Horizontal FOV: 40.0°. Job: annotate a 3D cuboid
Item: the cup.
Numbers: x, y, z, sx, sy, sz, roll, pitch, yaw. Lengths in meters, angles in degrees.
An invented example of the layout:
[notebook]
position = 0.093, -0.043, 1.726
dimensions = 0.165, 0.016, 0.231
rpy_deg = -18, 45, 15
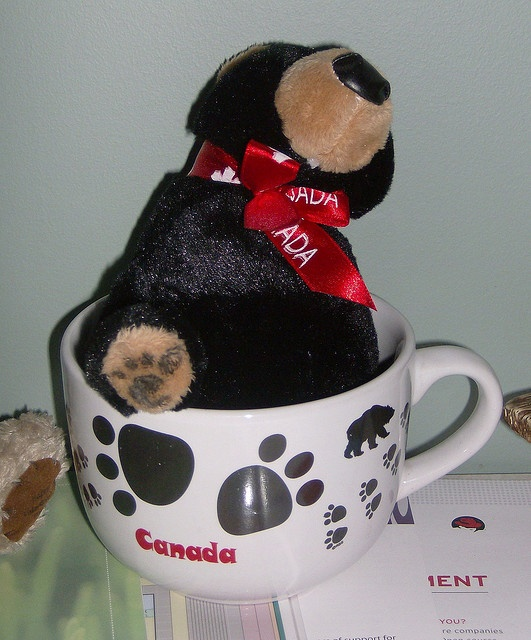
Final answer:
[cup]
position = 0.005, 0.079, 0.530
dimensions = 0.313, 0.209, 0.144
rpy_deg = 0, 100, -2
